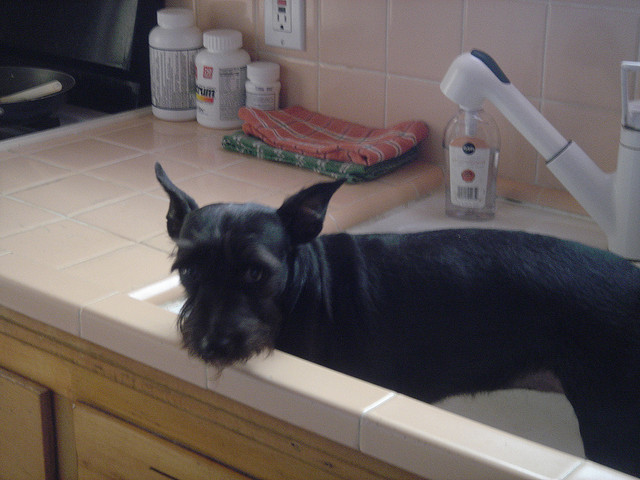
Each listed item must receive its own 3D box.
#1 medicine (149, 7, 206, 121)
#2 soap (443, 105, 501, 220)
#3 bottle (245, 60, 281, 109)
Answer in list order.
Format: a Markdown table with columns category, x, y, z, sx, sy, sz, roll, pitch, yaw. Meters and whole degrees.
| category | x | y | z | sx | sy | sz | roll | pitch | yaw |
| --- | --- | --- | --- | --- | --- | --- | --- | --- | --- |
| medicine | -0.321 | -0.384 | 1.264 | 0.138 | 0.236 | 0.076 | 2 | 17 | 1 |
| soap | 0.238 | -0.131 | 0.896 | 0.089 | 0.212 | 0.047 | 11 | 35 | 27 |
| bottle | -0.118 | -0.336 | 1.235 | 0.074 | 0.101 | 0.086 | 6 | 18 | 13 |
